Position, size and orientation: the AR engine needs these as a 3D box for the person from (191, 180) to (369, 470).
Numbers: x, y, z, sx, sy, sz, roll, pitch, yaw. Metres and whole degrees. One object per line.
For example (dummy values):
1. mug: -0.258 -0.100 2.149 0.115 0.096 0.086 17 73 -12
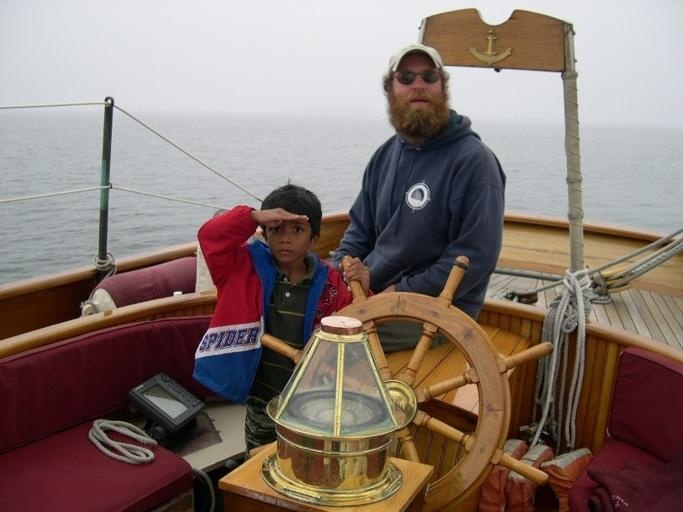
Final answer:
1. person: -0.233 0.265 1.815 0.577 1.013 0.376 -2 14 -17

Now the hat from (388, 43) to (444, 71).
1. hat: 0.313 -0.846 2.180 0.240 0.110 0.155 4 13 6
